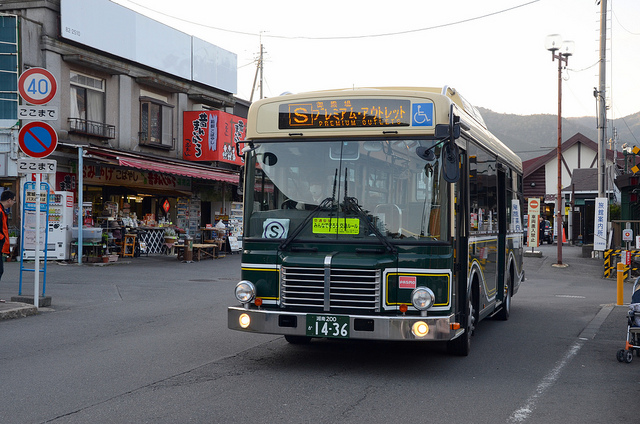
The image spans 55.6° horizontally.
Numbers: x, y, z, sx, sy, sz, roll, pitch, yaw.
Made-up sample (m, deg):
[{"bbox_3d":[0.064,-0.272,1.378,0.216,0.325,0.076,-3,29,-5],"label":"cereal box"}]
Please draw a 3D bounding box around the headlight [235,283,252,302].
[{"bbox_3d":[-1.207,1.261,9.649,0.258,0.288,0.268,0,1,18],"label":"headlight"}]

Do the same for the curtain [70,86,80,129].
[{"bbox_3d":[-10.063,-4.320,24.819,0.287,1.703,0.644,2,2,13],"label":"curtain"}]

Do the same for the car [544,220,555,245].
[{"bbox_3d":[20.711,1.761,54.797,0.759,2.151,2.187,2,2,22],"label":"car"}]

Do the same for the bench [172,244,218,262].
[{"bbox_3d":[-5.366,1.741,27.503,1.402,0.785,3.244,2,2,5],"label":"bench"}]

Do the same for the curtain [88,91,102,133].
[{"bbox_3d":[-9.652,-4.554,25.920,0.102,1.233,0.823,2,2,20],"label":"curtain"}]
